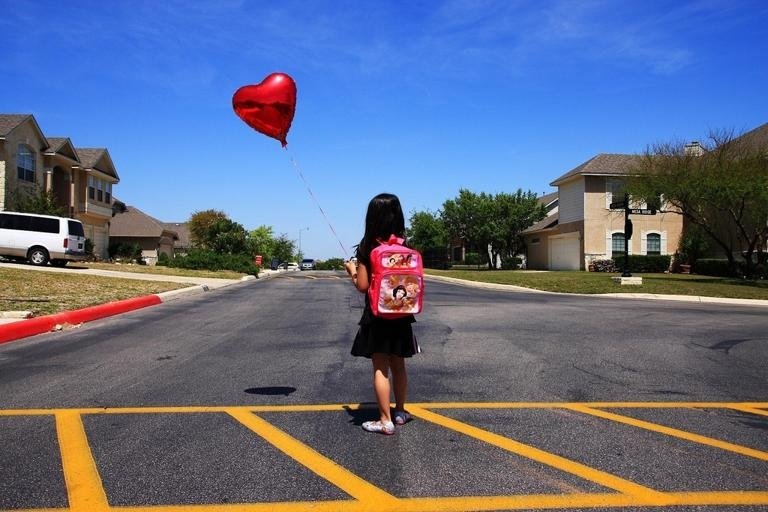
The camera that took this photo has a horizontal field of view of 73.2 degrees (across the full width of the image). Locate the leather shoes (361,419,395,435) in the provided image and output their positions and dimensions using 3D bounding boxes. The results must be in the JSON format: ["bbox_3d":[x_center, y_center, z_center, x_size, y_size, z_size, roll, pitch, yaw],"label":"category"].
[{"bbox_3d":[-0.063,1.830,5.579,0.343,0.136,0.140,4,-7,14],"label":"leather shoes"}]

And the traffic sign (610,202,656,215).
[{"bbox_3d":[16.082,-3.083,33.454,1.574,0.422,1.715,2,1,-2],"label":"traffic sign"}]

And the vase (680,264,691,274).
[{"bbox_3d":[20.594,0.891,35.188,0.573,0.576,2.365,1,2,28],"label":"vase"}]
